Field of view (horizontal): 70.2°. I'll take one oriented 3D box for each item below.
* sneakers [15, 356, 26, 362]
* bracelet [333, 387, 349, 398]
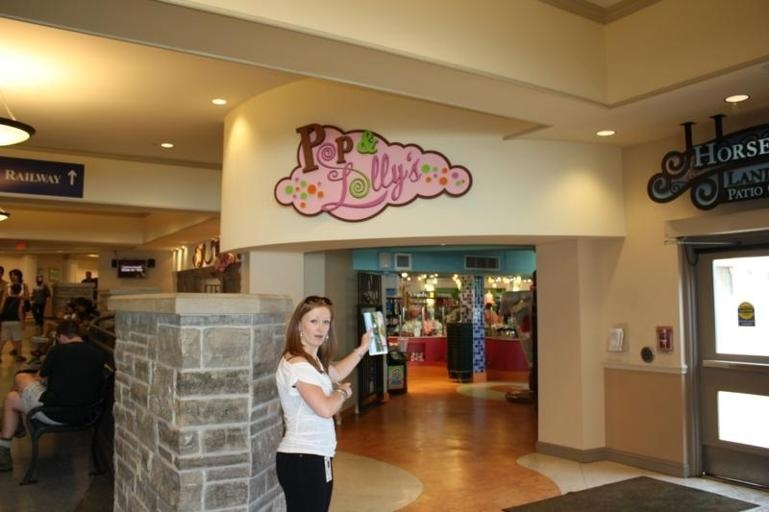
[{"bbox_3d":[-7.878,2.243,11.844,0.235,0.161,0.122,1,2,-19],"label":"sneakers"},{"bbox_3d":[-0.334,1.049,4.210,0.093,0.090,0.086,16,-11,2],"label":"bracelet"}]
